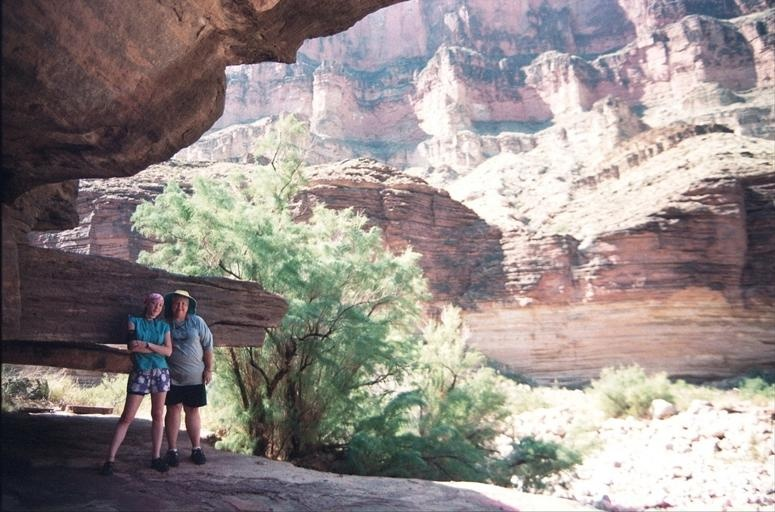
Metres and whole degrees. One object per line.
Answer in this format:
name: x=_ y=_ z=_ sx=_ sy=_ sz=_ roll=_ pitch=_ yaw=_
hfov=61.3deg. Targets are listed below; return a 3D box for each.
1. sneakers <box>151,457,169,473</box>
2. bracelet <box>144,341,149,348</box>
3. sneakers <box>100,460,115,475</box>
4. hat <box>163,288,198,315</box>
sneakers: x=-5.736 y=5.294 z=16.593 sx=0.566 sy=0.216 sz=0.241 roll=2 pitch=-2 yaw=34
bracelet: x=-6.074 y=2.246 z=16.595 sx=0.178 sy=0.149 sz=0.044 roll=-1 pitch=-7 yaw=-7
sneakers: x=-6.908 y=5.242 z=16.258 sx=0.299 sy=0.357 sz=0.156 roll=5 pitch=-11 yaw=-11
hat: x=-5.366 y=1.192 z=17.251 sx=0.646 sy=0.243 sz=0.727 roll=-25 pitch=-38 yaw=31
